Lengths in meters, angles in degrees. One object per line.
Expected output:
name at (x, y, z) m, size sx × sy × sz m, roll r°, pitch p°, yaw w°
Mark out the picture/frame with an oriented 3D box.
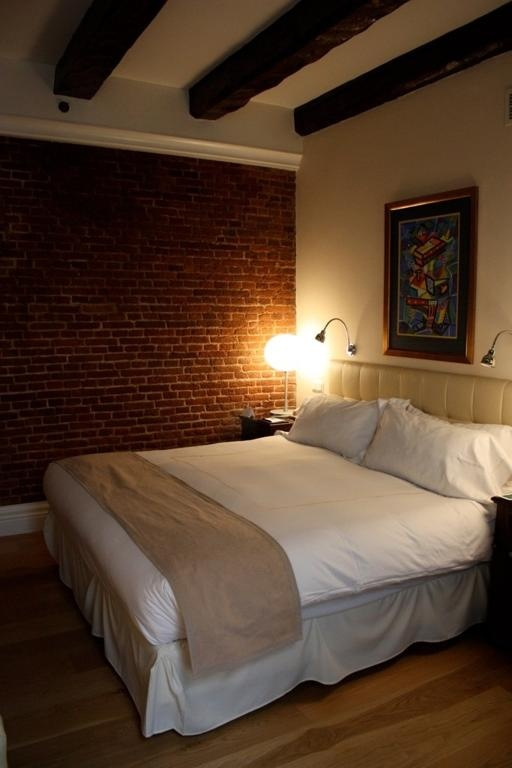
picture/frame at (1.108, -0.691, 3.548) m, size 0.084 × 1.126 × 0.850 m, roll -1°, pitch 2°, yaw -23°
